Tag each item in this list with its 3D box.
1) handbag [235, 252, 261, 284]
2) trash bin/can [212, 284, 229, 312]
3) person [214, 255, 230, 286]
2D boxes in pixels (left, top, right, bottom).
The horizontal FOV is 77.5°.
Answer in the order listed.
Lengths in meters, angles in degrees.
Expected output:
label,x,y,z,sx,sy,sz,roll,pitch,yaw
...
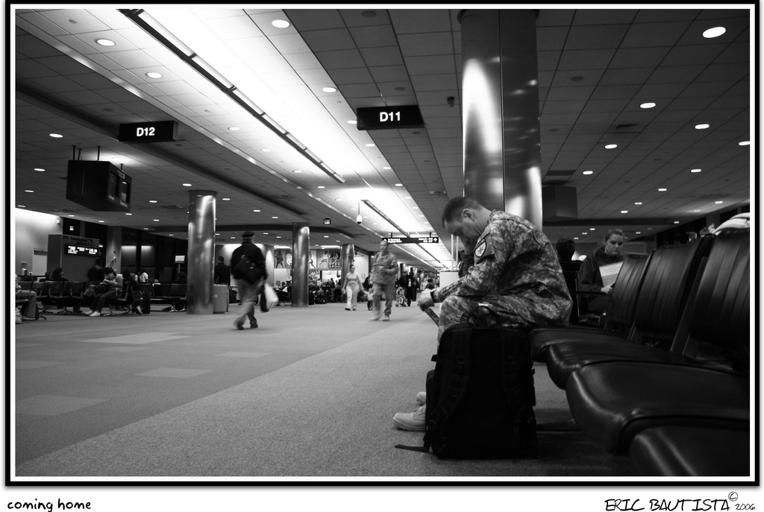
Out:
label,x,y,z,sx,sy,sz,roll,pitch,yaw
handbag,-2.719,0.265,9.456,0.522,0.580,0.205,-1,-2,20
trash bin/can,-5.286,1.395,15.353,0.414,0.890,0.193,1,-2,-24
person,-5.481,0.497,16.062,0.459,0.941,0.933,1,-2,-20
